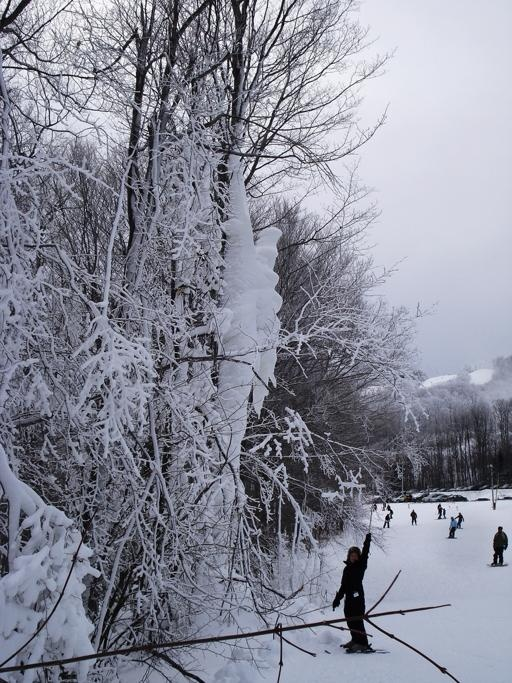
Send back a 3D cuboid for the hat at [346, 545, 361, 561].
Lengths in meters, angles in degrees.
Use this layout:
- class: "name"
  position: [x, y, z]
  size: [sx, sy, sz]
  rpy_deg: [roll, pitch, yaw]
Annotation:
- class: "hat"
  position: [1.132, 2.462, 8.051]
  size: [0.173, 0.231, 0.173]
  rpy_deg: [4, -15, 7]
